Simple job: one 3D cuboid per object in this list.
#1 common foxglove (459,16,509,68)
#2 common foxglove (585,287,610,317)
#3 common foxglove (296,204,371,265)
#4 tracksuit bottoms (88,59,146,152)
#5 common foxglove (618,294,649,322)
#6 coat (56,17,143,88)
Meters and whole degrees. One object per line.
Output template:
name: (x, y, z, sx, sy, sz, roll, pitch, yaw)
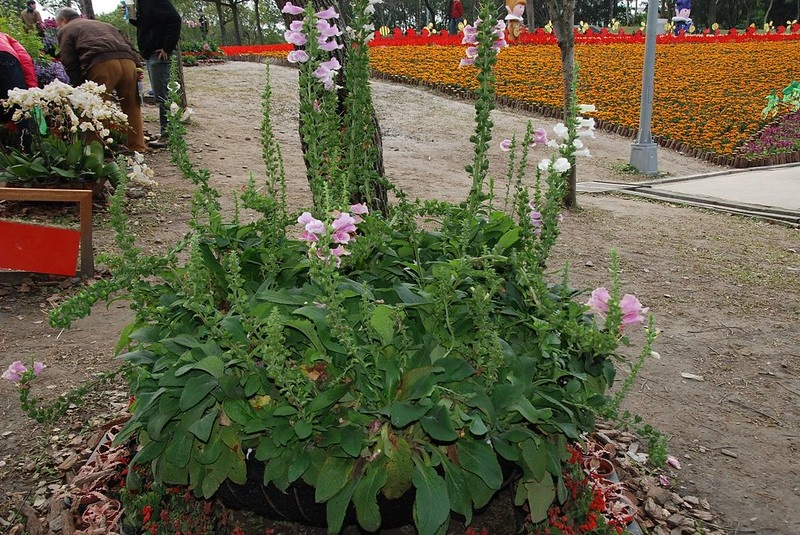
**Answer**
common foxglove: (0.490, -1.312, 2.792, 0.259, 0.242, 0.355, 7, 21, 6)
common foxglove: (0.989, 0.185, 2.371, 0.138, 0.144, 0.062, 12, 17, 42)
common foxglove: (-0.312, -0.133, 2.303, 0.343, 0.305, 0.333, -9, 33, -9)
tracksuit bottoms: (-4.732, -2.766, 7.988, 0.468, 1.568, 0.716, 11, 26, 8)
common foxglove: (1.110, 0.197, 2.294, 0.136, 0.137, 0.055, -11, 7, -32)
coat: (-4.950, -3.572, 7.825, 1.081, 0.972, 0.591, -28, 7, -29)
